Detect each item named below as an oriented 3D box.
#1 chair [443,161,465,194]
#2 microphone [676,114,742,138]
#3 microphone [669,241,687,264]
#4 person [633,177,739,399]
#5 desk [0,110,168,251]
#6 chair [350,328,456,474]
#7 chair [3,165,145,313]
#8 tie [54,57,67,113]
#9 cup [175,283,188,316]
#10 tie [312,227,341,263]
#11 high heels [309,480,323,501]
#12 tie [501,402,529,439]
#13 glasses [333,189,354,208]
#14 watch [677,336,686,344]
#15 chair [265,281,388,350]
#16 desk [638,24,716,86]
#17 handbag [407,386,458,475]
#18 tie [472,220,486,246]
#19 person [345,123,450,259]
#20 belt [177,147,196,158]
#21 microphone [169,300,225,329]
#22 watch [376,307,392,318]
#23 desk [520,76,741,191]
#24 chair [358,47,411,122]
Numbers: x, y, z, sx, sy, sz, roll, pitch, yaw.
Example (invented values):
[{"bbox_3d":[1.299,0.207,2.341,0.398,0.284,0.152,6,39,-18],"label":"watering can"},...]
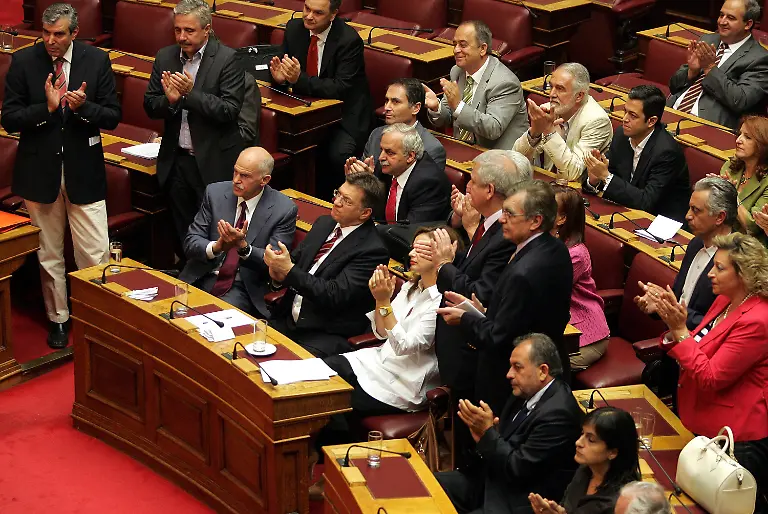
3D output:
[{"bbox_3d":[0.650,-0.725,6.398,0.207,0.284,0.158,35,61,26],"label":"chair"},{"bbox_3d":[3.286,-1.296,6.843,0.254,0.132,0.402,-24,45,-33],"label":"microphone"},{"bbox_3d":[2.313,-0.022,5.325,0.125,0.154,0.086,-7,23,-11],"label":"microphone"},{"bbox_3d":[2.262,0.486,5.000,0.654,2.083,0.623,5,20,23],"label":"person"},{"bbox_3d":[-2.858,-0.656,6.375,0.986,0.788,0.552,26,37,31],"label":"desk"},{"bbox_3d":[0.117,0.963,4.671,0.459,0.884,0.599,-9,27,-16],"label":"chair"},{"bbox_3d":[-2.819,-0.192,6.115,0.858,1.102,0.586,30,38,35],"label":"chair"},{"bbox_3d":[-2.913,-1.509,6.031,0.069,0.553,0.057,-3,-1,-16],"label":"tie"},{"bbox_3d":[-1.476,0.324,4.915,0.128,0.249,0.141,-1,10,-13],"label":"cup"},{"bbox_3d":[-0.478,-0.080,5.583,0.038,0.318,0.055,36,6,-31],"label":"tie"},{"bbox_3d":[-0.474,1.592,4.644,0.114,0.127,0.072,3,4,1],"label":"high heels"},{"bbox_3d":[0.815,0.992,4.138,0.062,0.198,0.137,33,-5,-27],"label":"tie"},{"bbox_3d":[-0.316,-0.442,5.443,0.165,0.098,0.132,3,46,-34],"label":"glasses"},{"bbox_3d":[1.847,0.516,4.193,0.028,0.039,0.040,-5,-9,11],"label":"watch"},{"bbox_3d":[-0.477,0.616,5.641,0.755,0.714,0.635,-17,-9,20],"label":"chair"},{"bbox_3d":[3.469,-2.344,8.016,0.532,0.815,0.831,-16,32,-25],"label":"desk"},{"bbox_3d":[0.296,1.105,4.630,0.401,0.630,0.427,-2,9,-6],"label":"handbag"},{"bbox_3d":[0.702,-0.173,5.016,0.044,0.158,0.103,11,-8,-23],"label":"tie"},{"bbox_3d":[0.118,-0.527,5.874,0.642,1.031,0.660,-26,40,-24],"label":"person"},{"bbox_3d":[-1.917,-0.980,6.477,0.117,0.045,0.094,7,-15,15],"label":"belt"},{"bbox_3d":[-1.381,0.421,4.835,0.233,0.069,0.240,0,29,-23],"label":"microphone"},{"bbox_3d":[-0.005,0.402,4.972,0.066,0.045,0.071,1,14,11],"label":"watch"},{"bbox_3d":[2.345,-1.118,6.409,0.357,0.527,1.288,-15,38,-31],"label":"desk"},{"bbox_3d":[-0.012,-1.859,7.466,0.622,0.880,0.476,26,42,29],"label":"chair"}]
